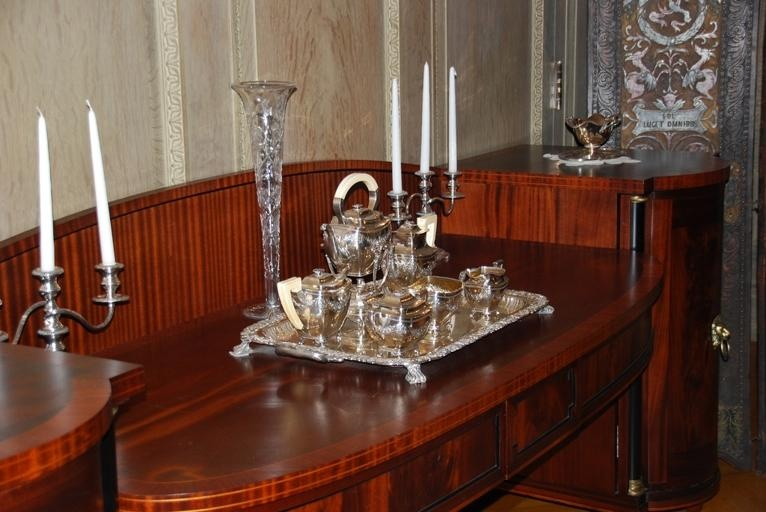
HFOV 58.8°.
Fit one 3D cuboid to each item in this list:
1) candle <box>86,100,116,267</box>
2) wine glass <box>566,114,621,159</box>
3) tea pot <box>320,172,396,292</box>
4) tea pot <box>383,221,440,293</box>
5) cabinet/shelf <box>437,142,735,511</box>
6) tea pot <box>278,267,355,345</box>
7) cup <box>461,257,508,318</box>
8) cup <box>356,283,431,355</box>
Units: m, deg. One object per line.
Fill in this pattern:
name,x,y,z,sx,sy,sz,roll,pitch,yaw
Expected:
candle,-0.454,-0.163,1.082,0.027,0.026,0.263,-18,53,-13
wine glass,0.735,-0.422,2.369,0.177,0.132,0.183,-1,13,5
tea pot,-0.053,-0.057,1.414,0.113,0.238,0.191,12,21,40
tea pot,0.048,0.001,1.366,0.129,0.148,0.112,1,9,-3
cabinet/shelf,0.681,0.095,2.522,1.025,1.306,0.803,5,15,29
tea pot,-0.122,0.088,1.221,0.101,0.128,0.139,5,16,29
cup,0.199,0.065,1.373,0.103,0.104,0.089,-4,6,-38
cup,0.024,0.109,1.197,0.116,0.110,0.112,1,9,0
